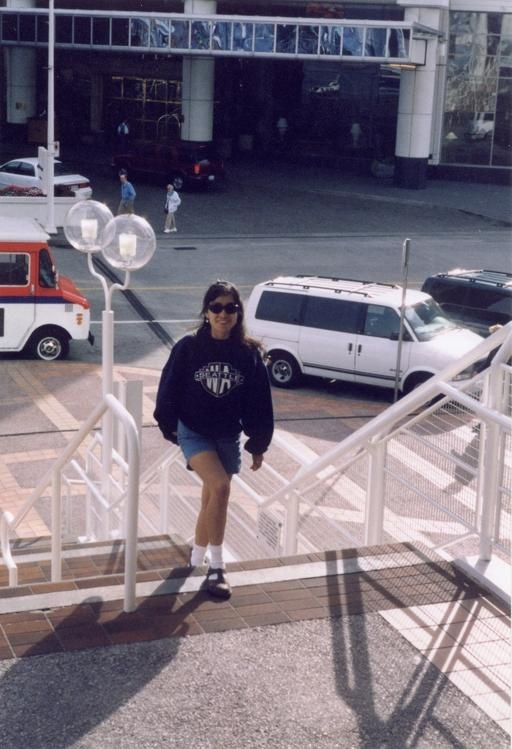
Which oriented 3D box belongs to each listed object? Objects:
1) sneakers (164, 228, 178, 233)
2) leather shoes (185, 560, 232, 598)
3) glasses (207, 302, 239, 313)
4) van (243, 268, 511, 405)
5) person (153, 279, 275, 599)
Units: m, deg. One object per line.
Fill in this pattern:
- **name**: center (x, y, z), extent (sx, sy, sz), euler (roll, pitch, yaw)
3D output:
- **sneakers**: center (-3.331, -5.667, 30.143), extent (0.529, 0.214, 0.183), euler (0, 18, -1)
- **leather shoes**: center (-0.231, 1.057, 3.983), extent (0.083, 0.082, 0.219), euler (-2, 9, -33)
- **glasses**: center (-0.182, -0.375, 4.350), extent (0.175, 0.061, 0.062), euler (0, 11, -4)
- **van**: center (2.220, -0.905, 15.724), extent (4.490, 1.820, 2.269), euler (7, 15, 22)
- **person**: center (-0.282, 0.342, 4.319), extent (0.654, 1.684, 0.857), euler (2, 11, 9)
